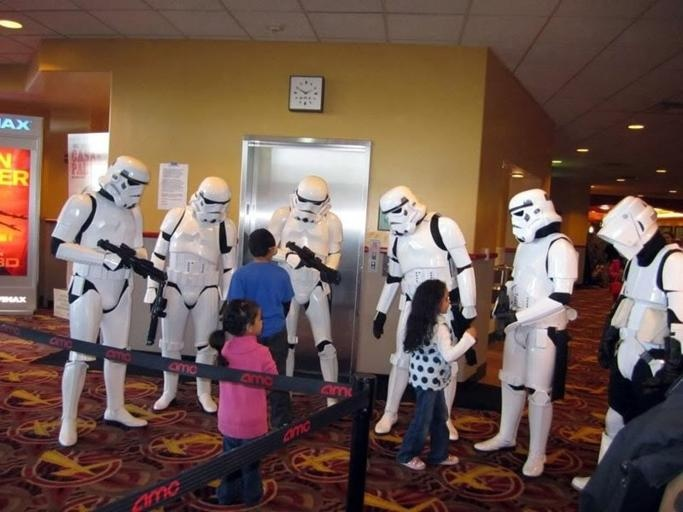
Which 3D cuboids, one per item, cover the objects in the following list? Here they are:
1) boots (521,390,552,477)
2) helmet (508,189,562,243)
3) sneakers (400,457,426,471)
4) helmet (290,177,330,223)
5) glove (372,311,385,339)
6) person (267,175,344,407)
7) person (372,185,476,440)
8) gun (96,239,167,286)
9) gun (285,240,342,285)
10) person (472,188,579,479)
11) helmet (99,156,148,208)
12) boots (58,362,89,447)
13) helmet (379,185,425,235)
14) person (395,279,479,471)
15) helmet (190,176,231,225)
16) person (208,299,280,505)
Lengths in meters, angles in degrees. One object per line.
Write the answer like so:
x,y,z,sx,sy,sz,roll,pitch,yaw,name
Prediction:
1.482,1.329,3.846,0.153,0.652,0.301,5,1,33,boots
1.482,-0.325,3.878,0.370,0.390,0.325,-13,5,15,helmet
0.517,1.524,3.704,0.173,0.106,0.070,-2,-38,15,sneakers
-0.278,-0.530,4.626,0.390,0.369,0.452,11,16,-12,helmet
0.320,0.594,4.390,0.120,0.238,0.082,11,-7,-16,glove
-0.325,0.278,4.716,0.697,1.996,0.570,11,18,25,person
0.672,0.445,4.241,0.826,1.954,0.684,-2,-1,18,person
-1.681,0.050,4.063,0.532,0.229,0.103,34,13,-28,gun
-0.271,0.062,4.473,0.090,0.198,0.408,-30,64,-36,gun
1.429,0.568,3.982,0.643,2.169,0.797,-2,7,-12,person
-1.743,-0.621,4.023,0.367,0.370,0.294,25,8,-6,helmet
-2.083,1.109,3.941,0.152,0.592,0.321,5,1,-29,boots
0.507,-0.409,4.223,0.338,0.348,0.360,-23,16,27,helmet
0.686,0.877,3.645,0.475,1.358,0.543,5,1,16,person
-1.131,-0.515,4.430,0.322,0.342,0.387,1,27,-26,helmet
-0.616,0.935,3.113,0.384,1.213,0.559,5,1,-18,person
